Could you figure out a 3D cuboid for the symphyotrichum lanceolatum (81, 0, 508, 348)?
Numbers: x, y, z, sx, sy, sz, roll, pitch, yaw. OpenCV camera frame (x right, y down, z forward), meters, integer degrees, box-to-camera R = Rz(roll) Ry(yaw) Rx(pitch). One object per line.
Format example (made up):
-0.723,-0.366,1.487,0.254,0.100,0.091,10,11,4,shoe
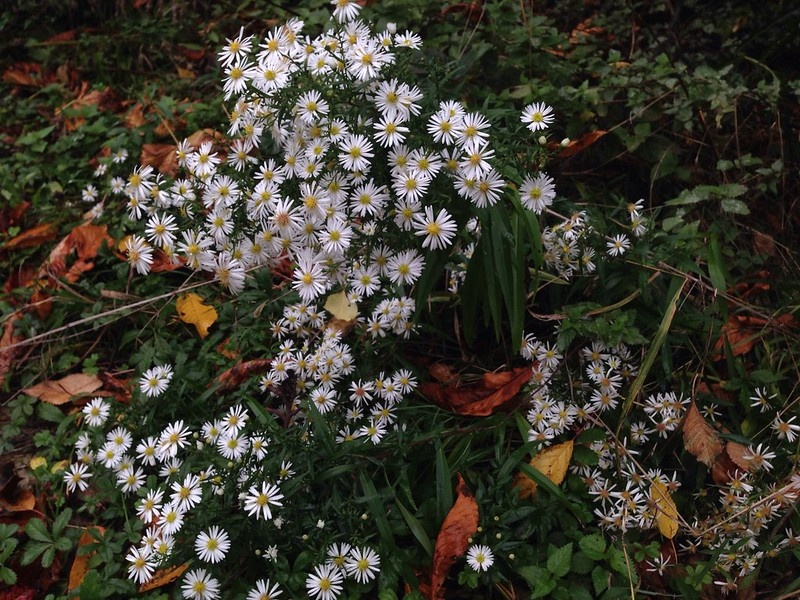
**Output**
-0.325,-0.550,4.069,1.357,1.809,1.026,34,20,4,symphyotrichum lanceolatum

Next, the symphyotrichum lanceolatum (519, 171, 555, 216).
0.613,-0.483,3.341,0.189,0.161,0.091,-26,30,-17,symphyotrichum lanceolatum

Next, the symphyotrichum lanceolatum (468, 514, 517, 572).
0.381,1.090,3.228,0.210,0.159,0.114,-25,30,-14,symphyotrichum lanceolatum

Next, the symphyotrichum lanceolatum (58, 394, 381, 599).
-0.803,0.871,3.301,0.888,0.399,1.030,-25,65,-12,symphyotrichum lanceolatum

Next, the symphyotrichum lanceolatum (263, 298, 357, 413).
-0.423,0.296,3.611,0.413,0.214,0.511,3,67,20,symphyotrichum lanceolatum
